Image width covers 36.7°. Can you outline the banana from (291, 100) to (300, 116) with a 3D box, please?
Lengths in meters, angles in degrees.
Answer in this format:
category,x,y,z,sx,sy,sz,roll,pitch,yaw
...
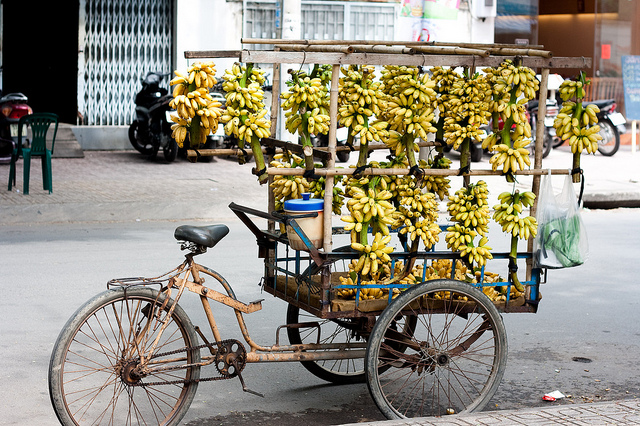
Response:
category,x,y,z,sx,sy,sz,roll,pitch,yaw
banana,-0.209,-0.925,8.486,0.034,0.129,0.029,-26,64,-30

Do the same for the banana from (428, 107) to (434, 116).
category,x,y,z,sx,sy,sz,roll,pitch,yaw
banana,0.943,-0.866,8.237,0.015,0.077,0.021,25,-28,12

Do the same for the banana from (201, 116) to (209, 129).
category,x,y,z,sx,sy,sz,roll,pitch,yaw
banana,-0.957,-0.771,8.153,0.042,0.121,0.036,7,32,16

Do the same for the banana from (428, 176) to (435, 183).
category,x,y,z,sx,sy,sz,roll,pitch,yaw
banana,0.972,-0.297,8.468,0.055,0.040,0.042,29,39,5

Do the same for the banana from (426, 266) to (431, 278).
category,x,y,z,sx,sy,sz,roll,pitch,yaw
banana,0.953,0.528,8.555,0.032,0.078,0.100,2,9,7

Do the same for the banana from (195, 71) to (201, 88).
category,x,y,z,sx,sy,sz,roll,pitch,yaw
banana,-1.011,-1.122,8.092,0.035,0.114,0.038,-2,-1,11

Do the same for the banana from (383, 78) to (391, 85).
category,x,y,z,sx,sy,sz,roll,pitch,yaw
banana,0.580,-1.147,8.380,0.028,0.050,0.095,-6,11,-38

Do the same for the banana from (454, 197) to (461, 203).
category,x,y,z,sx,sy,sz,roll,pitch,yaw
banana,1.165,-0.111,8.277,0.045,0.032,0.033,-5,0,6

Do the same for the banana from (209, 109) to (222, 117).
category,x,y,z,sx,sy,sz,roll,pitch,yaw
banana,-0.874,-0.840,8.150,0.028,0.034,0.104,-26,-38,26

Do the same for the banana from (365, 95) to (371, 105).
category,x,y,z,sx,sy,sz,roll,pitch,yaw
banana,0.407,-0.962,8.171,0.040,0.059,0.037,-10,0,18

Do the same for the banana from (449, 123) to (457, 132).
category,x,y,z,sx,sy,sz,roll,pitch,yaw
banana,1.149,-0.736,8.313,0.038,0.072,0.088,-5,11,-36

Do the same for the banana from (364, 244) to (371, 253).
category,x,y,z,sx,sy,sz,roll,pitch,yaw
banana,0.394,0.302,8.033,0.054,0.059,0.047,2,9,4

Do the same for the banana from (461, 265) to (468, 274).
category,x,y,z,sx,sy,sz,roll,pitch,yaw
banana,1.255,0.488,8.399,0.039,0.080,0.082,-3,10,-24

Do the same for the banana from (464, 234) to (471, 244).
category,x,y,z,sx,sy,sz,roll,pitch,yaw
banana,1.251,0.223,8.200,0.034,0.063,0.036,-21,-16,-14

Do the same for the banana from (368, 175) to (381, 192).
category,x,y,z,sx,sy,sz,roll,pitch,yaw
banana,0.448,-0.259,8.157,0.077,0.126,0.100,5,10,24

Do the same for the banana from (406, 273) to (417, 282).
category,x,y,z,sx,sy,sz,roll,pitch,yaw
banana,0.779,0.547,8.309,0.030,0.038,0.138,50,-3,-36

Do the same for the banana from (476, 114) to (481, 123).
category,x,y,z,sx,sy,sz,roll,pitch,yaw
banana,1.349,-0.811,8.280,0.029,0.056,0.019,-4,-8,0

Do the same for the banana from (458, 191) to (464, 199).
category,x,y,z,sx,sy,sz,roll,pitch,yaw
banana,1.200,-0.151,8.289,0.043,0.057,0.034,3,9,8

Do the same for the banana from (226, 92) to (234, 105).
category,x,y,z,sx,sy,sz,roll,pitch,yaw
banana,-0.769,-0.975,8.268,0.064,0.082,0.024,35,18,29

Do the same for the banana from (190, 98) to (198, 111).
category,x,y,z,sx,sy,sz,roll,pitch,yaw
banana,-1.040,-0.910,8.062,0.035,0.116,0.038,-20,3,-4

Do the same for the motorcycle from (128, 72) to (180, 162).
category,x,y,z,sx,sy,sz,roll,pitch,yaw
motorcycle,-3.081,-1.815,18.233,0.547,1.661,1.687,-3,10,-26

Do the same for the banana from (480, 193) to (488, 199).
category,x,y,z,sx,sy,sz,roll,pitch,yaw
banana,1.399,-0.146,8.272,0.038,0.051,0.090,8,11,35

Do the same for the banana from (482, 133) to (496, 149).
category,x,y,z,sx,sy,sz,roll,pitch,yaw
banana,1.460,-0.651,8.369,0.066,0.189,0.052,34,-15,-3

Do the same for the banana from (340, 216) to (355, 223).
category,x,y,z,sx,sy,sz,roll,pitch,yaw
banana,0.231,0.054,8.085,0.040,0.048,0.149,47,17,21

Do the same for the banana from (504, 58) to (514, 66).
category,x,y,z,sx,sy,sz,roll,pitch,yaw
banana,1.590,-1.279,8.168,0.085,0.043,0.024,23,-10,-9

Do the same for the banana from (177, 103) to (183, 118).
category,x,y,z,sx,sy,sz,roll,pitch,yaw
banana,-1.163,-0.859,8.125,0.042,0.113,0.027,0,26,0

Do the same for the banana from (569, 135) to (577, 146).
category,x,y,z,sx,sy,sz,roll,pitch,yaw
banana,2.172,-0.628,8.352,0.056,0.109,0.029,20,-14,36

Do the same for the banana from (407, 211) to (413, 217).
category,x,y,z,sx,sy,sz,roll,pitch,yaw
banana,0.760,0.014,8.180,0.039,0.045,0.039,-34,10,-39

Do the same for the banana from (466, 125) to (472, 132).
category,x,y,z,sx,sy,sz,roll,pitch,yaw
banana,1.270,-0.724,8.268,0.049,0.059,0.022,3,9,9

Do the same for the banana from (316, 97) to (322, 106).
category,x,y,z,sx,sy,sz,roll,pitch,yaw
banana,-0.011,-0.986,8.498,0.042,0.087,0.032,5,-19,-12

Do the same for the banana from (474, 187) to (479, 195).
category,x,y,z,sx,sy,sz,roll,pitch,yaw
banana,1.326,-0.199,8.238,0.026,0.043,0.034,0,-23,-38

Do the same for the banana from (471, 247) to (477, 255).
category,x,y,z,sx,sy,sz,roll,pitch,yaw
banana,1.295,0.322,8.154,0.038,0.050,0.039,-1,8,7

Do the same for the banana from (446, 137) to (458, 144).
category,x,y,z,sx,sy,sz,roll,pitch,yaw
banana,1.132,-0.631,8.387,0.068,0.061,0.181,0,9,-8

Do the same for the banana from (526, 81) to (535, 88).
category,x,y,z,sx,sy,sz,roll,pitch,yaw
banana,1.766,-1.085,8.185,0.097,0.026,0.033,24,37,-25

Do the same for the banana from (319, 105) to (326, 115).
category,x,y,z,sx,sy,sz,roll,pitch,yaw
banana,0.028,-0.923,8.628,0.060,0.072,0.068,-1,9,-12

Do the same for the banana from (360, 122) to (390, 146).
category,x,y,z,sx,sy,sz,roll,pitch,yaw
banana,0.451,-0.653,8.233,0.204,0.191,0.064,0,-10,-15

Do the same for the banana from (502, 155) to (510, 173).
category,x,y,z,sx,sy,sz,roll,pitch,yaw
banana,1.579,-0.413,8.172,0.039,0.138,0.047,11,-9,28

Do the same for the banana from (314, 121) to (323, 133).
category,x,y,z,sx,sy,sz,roll,pitch,yaw
banana,-0.009,-0.743,8.329,0.045,0.089,0.030,-31,4,3

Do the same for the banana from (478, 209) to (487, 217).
category,x,y,z,sx,sy,sz,roll,pitch,yaw
banana,1.379,0.000,8.239,0.082,0.059,0.018,-1,10,-13

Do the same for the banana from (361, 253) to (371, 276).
category,x,y,z,sx,sy,sz,roll,pitch,yaw
banana,0.390,0.434,8.049,0.051,0.185,0.062,14,-15,7

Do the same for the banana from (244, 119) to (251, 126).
category,x,y,z,sx,sy,sz,roll,pitch,yaw
banana,-0.605,-0.768,8.190,0.048,0.053,0.021,1,9,-4

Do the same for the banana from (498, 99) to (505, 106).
category,x,y,z,sx,sy,sz,roll,pitch,yaw
banana,1.545,-0.945,8.265,0.057,0.041,0.072,4,-3,-13

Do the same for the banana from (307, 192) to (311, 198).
category,x,y,z,sx,sy,sz,roll,pitch,yaw
banana,-0.090,-0.153,8.279,0.055,0.052,0.054,2,4,5

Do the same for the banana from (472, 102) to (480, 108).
category,x,y,z,sx,sy,sz,roll,pitch,yaw
banana,1.334,-0.927,8.305,0.059,0.037,0.018,2,9,5

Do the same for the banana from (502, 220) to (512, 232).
category,x,y,z,sx,sy,sz,roll,pitch,yaw
banana,1.583,0.118,8.233,0.044,0.130,0.036,33,-36,1

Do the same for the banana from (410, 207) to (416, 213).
category,x,y,z,sx,sy,sz,roll,pitch,yaw
banana,0.777,-0.029,8.177,0.026,0.048,0.066,-4,10,-28

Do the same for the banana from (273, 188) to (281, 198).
category,x,y,z,sx,sy,sz,roll,pitch,yaw
banana,-0.376,-0.178,8.622,0.064,0.084,0.024,23,20,30
